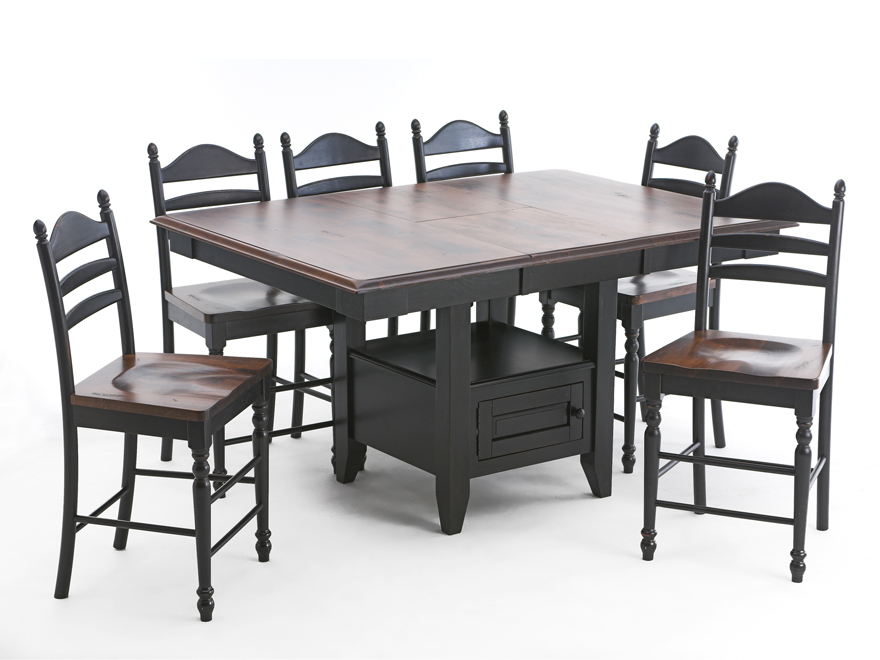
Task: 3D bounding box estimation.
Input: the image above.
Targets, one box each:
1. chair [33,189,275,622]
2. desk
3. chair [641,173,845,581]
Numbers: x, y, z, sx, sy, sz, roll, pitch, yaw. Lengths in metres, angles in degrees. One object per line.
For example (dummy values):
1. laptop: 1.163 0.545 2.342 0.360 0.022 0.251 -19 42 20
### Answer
1. chair: -0.928 0.213 2.801 0.644 1.284 0.750 1 18 6
2. desk: -0.154 0.291 3.850 2.321 1.173 1.676 -10 18 -33
3. chair: 1.154 0.112 3.113 0.715 1.329 0.894 6 19 19
